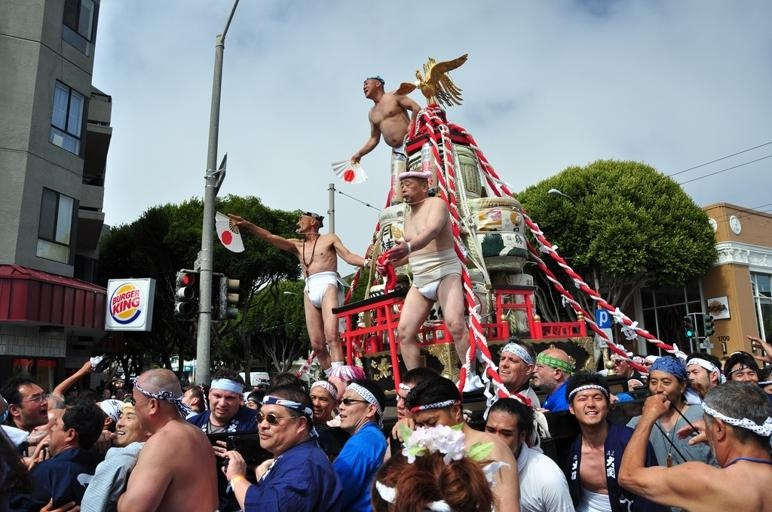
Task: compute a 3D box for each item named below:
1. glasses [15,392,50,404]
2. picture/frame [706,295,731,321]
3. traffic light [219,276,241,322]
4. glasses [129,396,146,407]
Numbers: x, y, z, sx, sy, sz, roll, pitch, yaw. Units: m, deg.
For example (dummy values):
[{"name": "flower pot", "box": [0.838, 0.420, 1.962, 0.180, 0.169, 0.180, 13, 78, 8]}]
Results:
[{"name": "glasses", "box": [-3.951, 1.591, 6.113, 0.199, 0.114, 0.411, -2, -13, -3]}, {"name": "picture/frame", "box": [16.164, 2.473, 26.010, 0.164, 1.260, 1.079, 17, -19, -24]}, {"name": "traffic light", "box": [-3.480, 0.929, 11.944, 0.404, 0.985, 1.060, 2, -14, -17]}, {"name": "glasses", "box": [-2.096, 1.235, 4.562, 0.071, 0.090, 0.246, 8, -17, -37]}]
